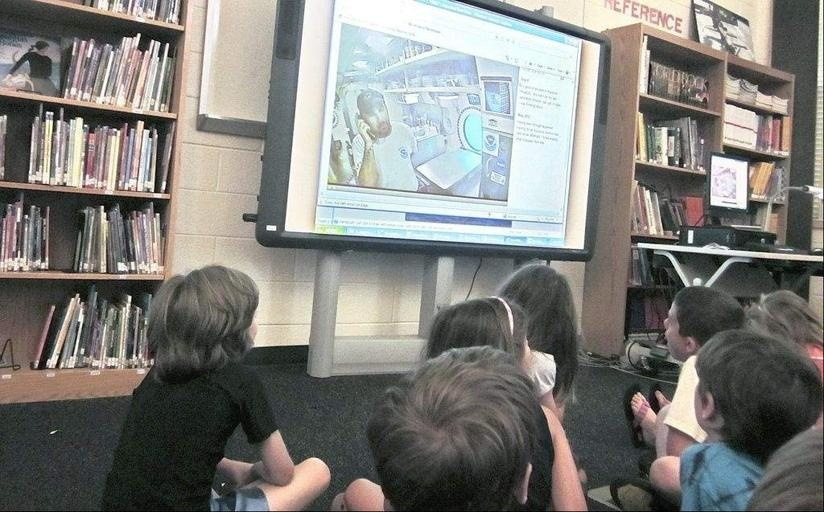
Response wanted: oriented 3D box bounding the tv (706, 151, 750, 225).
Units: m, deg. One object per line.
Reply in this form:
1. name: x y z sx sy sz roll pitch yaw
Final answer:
1. tv: 2.310 -0.500 4.011 0.621 0.605 0.084 3 -6 -25

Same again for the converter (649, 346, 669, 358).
1. converter: 1.742 0.681 3.844 0.097 0.062 0.086 12 0 35

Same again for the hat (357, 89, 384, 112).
1. hat: -0.245 -0.926 3.267 0.103 0.124 0.147 20 31 27

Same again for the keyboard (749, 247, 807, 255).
1. keyboard: 2.331 -0.035 3.476 0.302 0.058 0.259 2 -1 27
